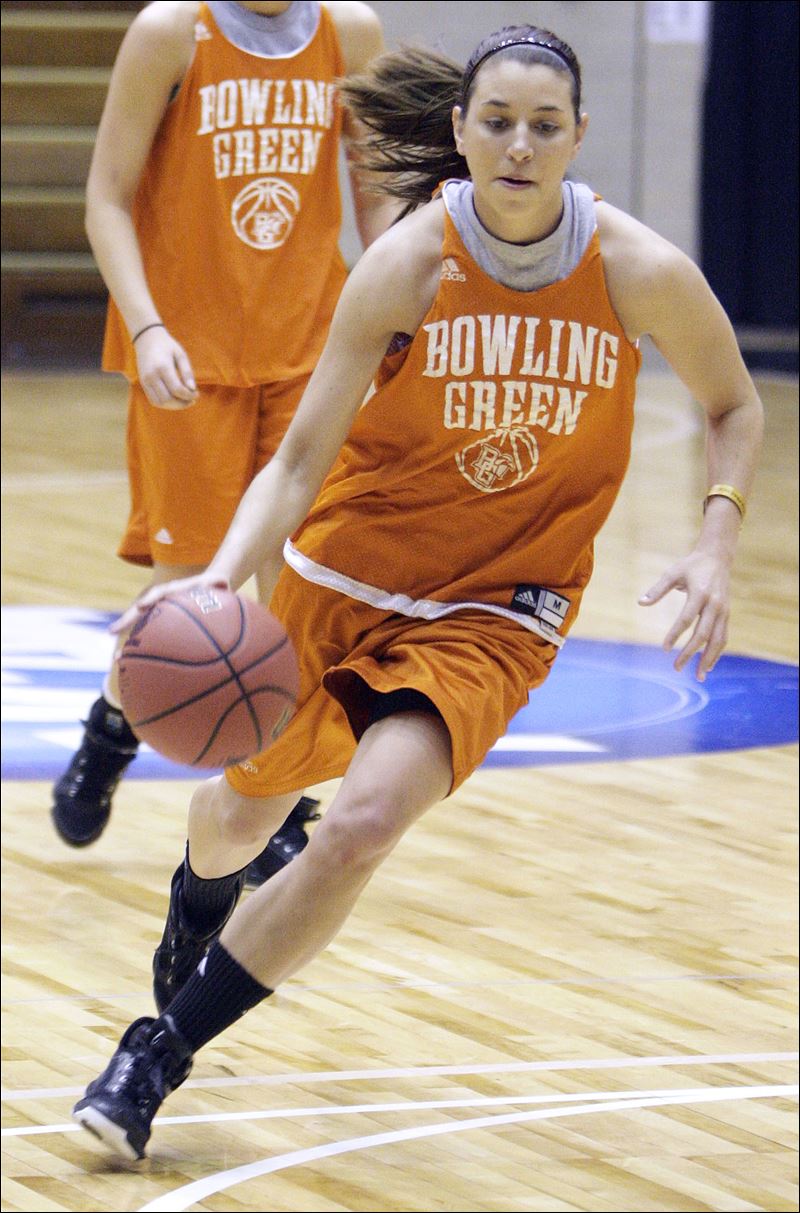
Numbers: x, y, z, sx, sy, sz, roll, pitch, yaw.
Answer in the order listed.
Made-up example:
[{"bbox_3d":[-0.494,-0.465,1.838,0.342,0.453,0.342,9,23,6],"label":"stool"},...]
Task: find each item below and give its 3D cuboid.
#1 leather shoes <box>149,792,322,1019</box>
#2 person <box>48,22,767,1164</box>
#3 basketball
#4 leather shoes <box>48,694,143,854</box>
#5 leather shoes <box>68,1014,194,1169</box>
[{"bbox_3d":[-0.260,0.435,1.629,0.121,0.348,0.152,40,4,-3],"label":"leather shoes"},{"bbox_3d":[-0.028,-0.017,1.259,0.731,1.139,0.480,2,3,20],"label":"person"},{"bbox_3d":[-0.188,0.068,1.146,0.172,0.181,0.169,5,-3,-16],"label":"basketball"},{"bbox_3d":[-0.570,0.335,2.249,0.129,0.329,0.206,23,-24,-14],"label":"leather shoes"},{"bbox_3d":[-0.250,0.474,1.209,0.071,0.080,0.190,36,5,-2],"label":"leather shoes"}]
